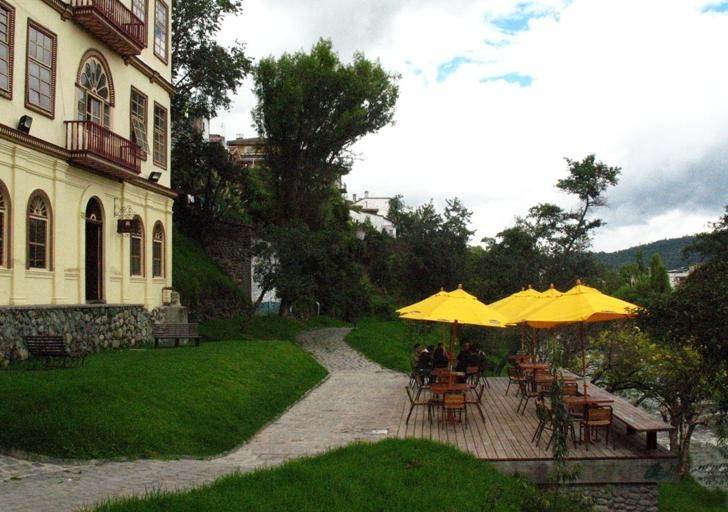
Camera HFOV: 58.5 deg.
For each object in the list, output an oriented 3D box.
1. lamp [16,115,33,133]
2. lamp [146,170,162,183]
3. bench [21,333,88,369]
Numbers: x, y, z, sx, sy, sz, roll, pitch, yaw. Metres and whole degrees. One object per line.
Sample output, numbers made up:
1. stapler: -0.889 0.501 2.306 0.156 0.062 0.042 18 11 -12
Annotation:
1. lamp: -12.550 -4.896 24.213 0.267 0.690 0.484 -8 -10 35
2. lamp: -10.661 -3.993 33.162 0.491 0.560 0.372 15 -43 -22
3. bench: -11.352 3.437 23.840 1.930 1.190 2.219 3 -11 -29
